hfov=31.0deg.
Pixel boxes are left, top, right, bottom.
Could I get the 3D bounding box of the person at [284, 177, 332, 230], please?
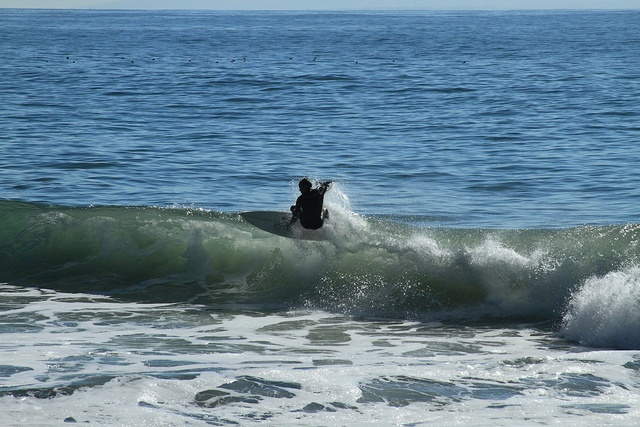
[{"bbox_3d":[-0.348,-0.282,35.331,1.078,1.562,0.352,7,17,-1],"label":"person"}]
